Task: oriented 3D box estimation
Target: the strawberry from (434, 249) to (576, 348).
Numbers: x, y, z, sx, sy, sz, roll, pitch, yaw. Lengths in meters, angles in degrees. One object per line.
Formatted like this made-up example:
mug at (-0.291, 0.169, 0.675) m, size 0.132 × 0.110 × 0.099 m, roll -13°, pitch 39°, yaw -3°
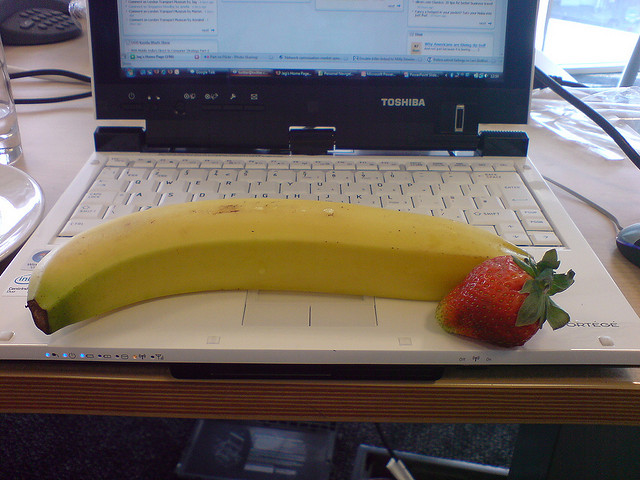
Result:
strawberry at (0.177, 0.053, 0.446) m, size 0.111 × 0.094 × 0.065 m, roll 14°, pitch 31°, yaw 26°
